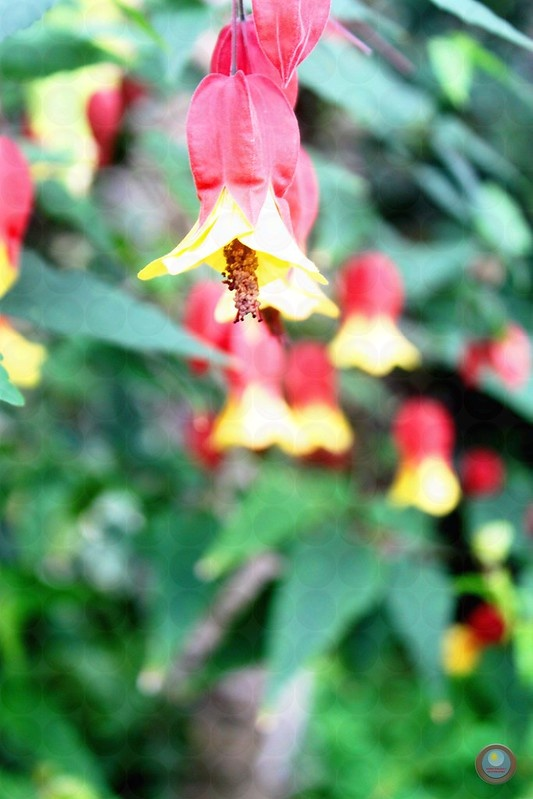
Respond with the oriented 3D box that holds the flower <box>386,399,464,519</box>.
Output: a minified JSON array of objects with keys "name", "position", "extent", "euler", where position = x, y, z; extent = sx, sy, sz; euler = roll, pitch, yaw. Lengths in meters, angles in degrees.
[{"name":"flower","position":[0.144,0.049,0.686],"extent":[0.076,0.098,0.044],"euler":[2,9,10]}]

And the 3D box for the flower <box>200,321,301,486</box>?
[{"name":"flower","position":[-0.001,-0.007,0.689],"extent":[0.080,0.082,0.092],"euler":[11,50,-10]}]

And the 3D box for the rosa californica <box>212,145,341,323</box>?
[{"name":"rosa californica","position":[-0.011,-0.146,0.731],"extent":[0.135,0.145,0.143],"euler":[5,-8,-7]}]

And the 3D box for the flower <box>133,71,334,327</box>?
[{"name":"flower","position":[-0.016,-0.143,0.610],"extent":[0.175,0.169,0.161],"euler":[5,0,24]}]

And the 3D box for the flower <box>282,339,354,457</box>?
[{"name":"flower","position":[0.046,0.014,0.701],"extent":[0.062,0.026,0.100],"euler":[-9,42,7]}]
